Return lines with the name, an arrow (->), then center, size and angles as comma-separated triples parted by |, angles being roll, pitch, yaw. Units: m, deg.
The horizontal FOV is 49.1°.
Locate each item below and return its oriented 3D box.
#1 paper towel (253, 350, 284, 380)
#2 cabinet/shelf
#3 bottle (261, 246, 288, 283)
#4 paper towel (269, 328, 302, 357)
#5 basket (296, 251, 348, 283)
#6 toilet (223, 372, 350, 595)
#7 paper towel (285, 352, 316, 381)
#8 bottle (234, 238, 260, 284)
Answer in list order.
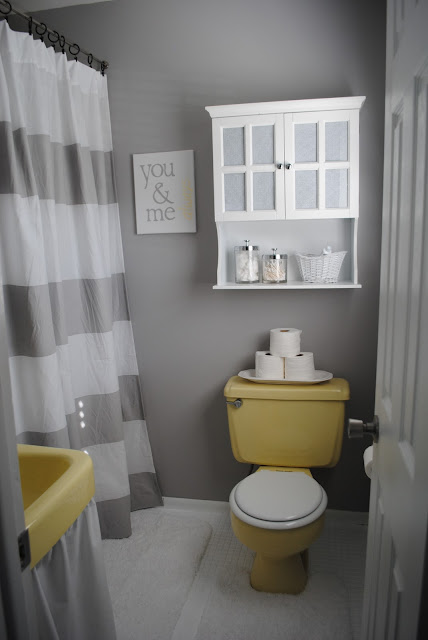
paper towel -> 0.244, 0.199, 2.060 | 0.098, 0.086, 0.108 | 1, 6, 3
cabinet/shelf -> 0.308, -0.543, 2.012 | 0.603, 0.841, 0.225 | -1, 35, 8
bottle -> 0.268, -0.233, 2.030 | 0.115, 0.190, 0.117 | 1, 6, 0
paper towel -> 0.312, 0.085, 2.042 | 0.105, 0.093, 0.116 | 4, 10, 24
basket -> 0.466, -0.243, 1.965 | 0.136, 0.111, 0.163 | -5, 10, -25
toilet -> 0.271, 0.667, 1.885 | 0.474, 0.757, 0.714 | 1, 6, 16
paper towel -> 0.364, 0.201, 1.983 | 0.102, 0.093, 0.109 | -3, 2, -19
bottle -> 0.150, -0.258, 2.106 | 0.103, 0.207, 0.111 | 0, -1, 0
